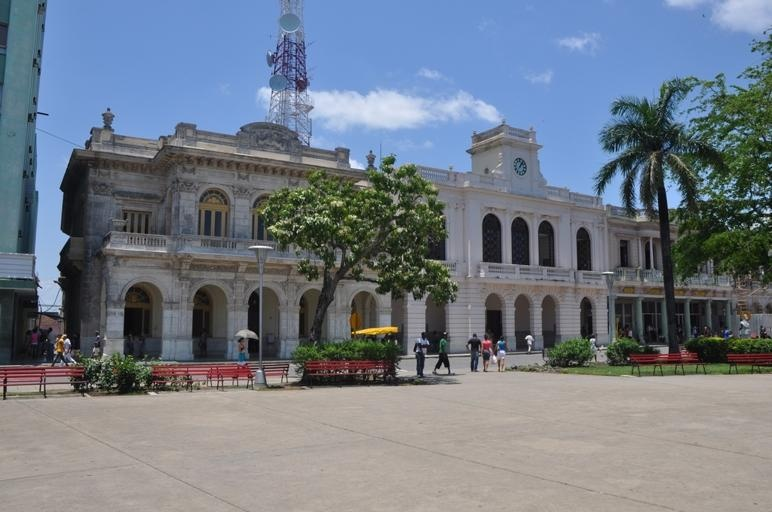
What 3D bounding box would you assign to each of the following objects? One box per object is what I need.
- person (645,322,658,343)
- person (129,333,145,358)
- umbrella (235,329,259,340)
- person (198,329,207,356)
[{"bbox_3d":[23.754,6.861,60.470,1.270,1.687,0.475,7,-13,-40],"label":"person"},{"bbox_3d":[-14.902,5.372,40.310,0.821,1.546,1.355,2,-11,-19],"label":"person"},{"bbox_3d":[-7.582,4.211,36.258,1.222,0.409,1.220,-2,-17,4],"label":"umbrella"},{"bbox_3d":[-11.475,5.410,42.130,0.513,1.747,1.274,2,-10,-16],"label":"person"}]
